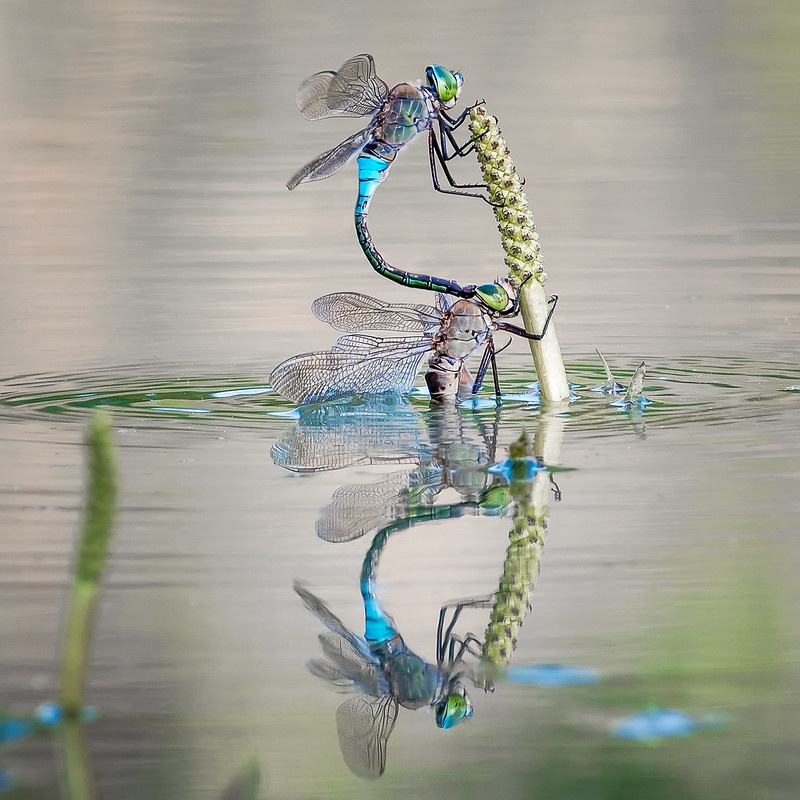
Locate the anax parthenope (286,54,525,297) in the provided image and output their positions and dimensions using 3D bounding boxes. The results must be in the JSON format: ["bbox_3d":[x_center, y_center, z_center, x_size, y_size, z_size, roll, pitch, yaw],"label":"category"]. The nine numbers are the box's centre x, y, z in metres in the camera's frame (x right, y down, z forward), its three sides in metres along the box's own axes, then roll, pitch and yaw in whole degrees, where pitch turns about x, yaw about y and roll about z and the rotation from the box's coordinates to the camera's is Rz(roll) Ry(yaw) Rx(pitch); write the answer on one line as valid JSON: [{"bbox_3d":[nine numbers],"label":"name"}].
[{"bbox_3d":[-0.018,-0.447,2.784,0.214,0.527,0.519,-18,21,-42],"label":"anax parthenope"}]

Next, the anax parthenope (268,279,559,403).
[{"bbox_3d":[0.042,-0.116,2.916,0.605,0.250,0.300,0,13,6],"label":"anax parthenope"}]
